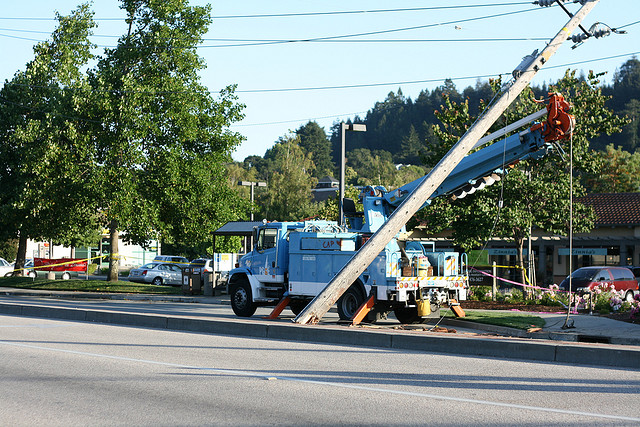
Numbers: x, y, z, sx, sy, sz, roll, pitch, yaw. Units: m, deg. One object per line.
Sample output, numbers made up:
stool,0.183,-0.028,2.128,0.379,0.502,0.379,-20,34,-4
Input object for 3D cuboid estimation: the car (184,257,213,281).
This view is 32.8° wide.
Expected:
car,-6.866,3.132,62.125,1.308,1.171,2.273,1,1,-6

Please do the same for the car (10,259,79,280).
car,-18.975,3.516,75.103,3.610,1.215,2.078,3,-5,-7

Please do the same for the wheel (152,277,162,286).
wheel,-10.353,4.321,68.493,0.465,0.468,0.167,-1,1,-16

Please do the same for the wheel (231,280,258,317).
wheel,-3.343,3.768,48.170,0.575,1.483,1.465,3,-8,-43

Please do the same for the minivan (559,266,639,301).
minivan,14.465,3.625,54.709,4.035,1.671,2.610,-4,12,-20

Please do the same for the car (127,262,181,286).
car,-10.506,3.812,69.133,3.464,1.076,1.463,-1,1,-33
